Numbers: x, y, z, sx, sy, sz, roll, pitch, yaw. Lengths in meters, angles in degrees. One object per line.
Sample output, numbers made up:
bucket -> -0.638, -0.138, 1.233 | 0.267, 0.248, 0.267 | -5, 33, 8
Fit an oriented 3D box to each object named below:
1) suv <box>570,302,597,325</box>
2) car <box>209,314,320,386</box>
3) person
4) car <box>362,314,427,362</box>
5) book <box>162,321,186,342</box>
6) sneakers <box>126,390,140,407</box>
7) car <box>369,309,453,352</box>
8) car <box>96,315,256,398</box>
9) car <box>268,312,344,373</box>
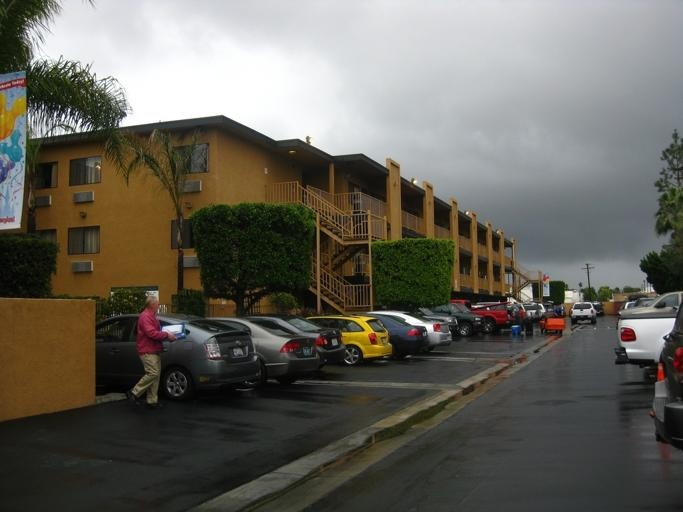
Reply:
suv -> 25.138, 6.073, 58.154 | 2.230, 2.076, 3.861 | -1, -5, 22
car -> -2.009, 2.405, 14.133 | 2.790, 1.066, 1.297 | 0, -4, 25
person -> -3.828, 1.924, 11.229 | 0.830, 2.174, 1.302 | 1, -4, -22
car -> 2.139, 3.098, 20.968 | 2.542, 1.038, 1.173 | 0, -4, 19
book -> -3.280, 1.515, 11.033 | 0.487, 0.426, 0.179 | -2, -2, 17
sneakers -> -4.214, 2.892, 11.214 | 0.195, 0.268, 0.562 | 3, -4, -27
car -> 2.770, 3.078, 22.767 | 3.383, 1.289, 1.521 | 0, -4, 16
car -> -3.768, 2.245, 12.368 | 3.312, 1.323, 1.757 | 1, -5, 20
car -> -1.034, 2.343, 15.373 | 2.033, 0.778, 0.988 | 0, -3, 34
